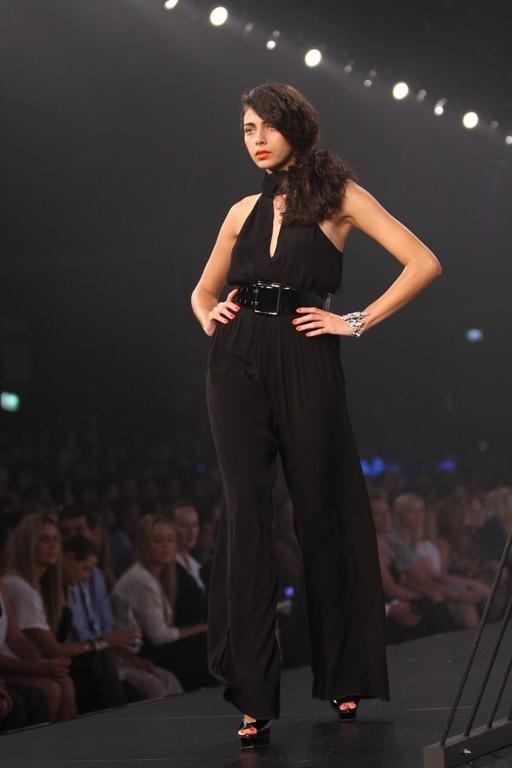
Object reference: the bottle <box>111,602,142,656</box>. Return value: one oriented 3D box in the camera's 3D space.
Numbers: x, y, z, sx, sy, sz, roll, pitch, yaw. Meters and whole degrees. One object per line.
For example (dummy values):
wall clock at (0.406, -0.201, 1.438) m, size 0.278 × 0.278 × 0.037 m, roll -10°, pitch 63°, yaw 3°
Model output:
bottle at (-0.355, 0.676, 2.125) m, size 0.071 × 0.130 × 0.105 m, roll -3°, pitch 4°, yaw -37°

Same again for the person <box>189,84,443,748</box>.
person at (0.148, 0.040, 1.843) m, size 0.505 × 1.508 × 0.315 m, roll 1°, pitch -11°, yaw -20°

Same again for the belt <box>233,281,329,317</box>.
belt at (0.064, -0.201, 1.823) m, size 0.224 × 0.093 × 0.097 m, roll -3°, pitch -9°, yaw -1°

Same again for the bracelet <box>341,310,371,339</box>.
bracelet at (0.244, -0.145, 1.862) m, size 0.069 × 0.054 × 0.021 m, roll -5°, pitch -8°, yaw -29°
